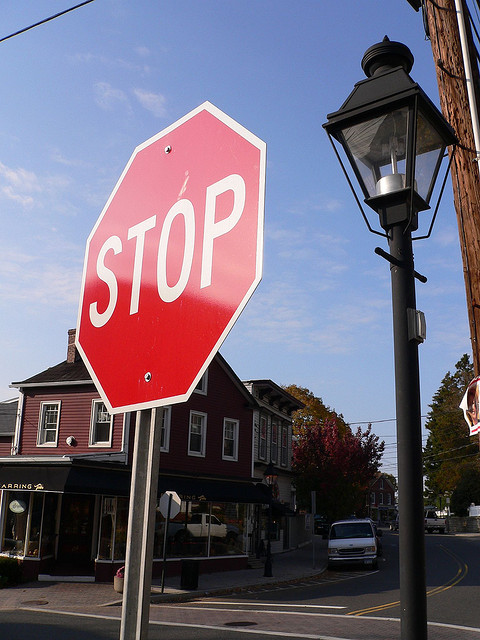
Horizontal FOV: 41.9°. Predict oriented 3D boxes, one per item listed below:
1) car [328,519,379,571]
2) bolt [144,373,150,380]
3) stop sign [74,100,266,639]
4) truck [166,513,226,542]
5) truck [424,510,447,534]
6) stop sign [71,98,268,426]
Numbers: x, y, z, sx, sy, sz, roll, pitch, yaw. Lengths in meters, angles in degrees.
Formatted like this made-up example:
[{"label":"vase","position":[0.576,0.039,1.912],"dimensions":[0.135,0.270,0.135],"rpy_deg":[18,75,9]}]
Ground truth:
[{"label":"car","position":[4.420,8.808,24.543],"dimensions":[1.839,1.750,1.816],"rpy_deg":[-4,-18,9]},{"label":"bolt","position":[-0.254,0.153,1.697],"dimensions":[0.024,0.020,0.001],"rpy_deg":[-17,-23,41]},{"label":"stop sign","position":[-0.229,0.058,1.693],"dimensions":[0.199,1.468,0.865],"rpy_deg":[10,-20,-32]},{"label":"truck","position":[-1.523,7.447,22.196],"dimensions":[2.321,1.056,1.001],"rpy_deg":[11,-21,-34]},{"label":"truck","position":[17.689,18.409,56.990],"dimensions":[1.586,2.031,2.988],"rpy_deg":[-5,-18,14]},{"label":"stop sign","position":[-0.222,-0.178,1.790],"dimensions":[0.826,0.865,0.034],"rpy_deg":[-14,-24,43]}]
